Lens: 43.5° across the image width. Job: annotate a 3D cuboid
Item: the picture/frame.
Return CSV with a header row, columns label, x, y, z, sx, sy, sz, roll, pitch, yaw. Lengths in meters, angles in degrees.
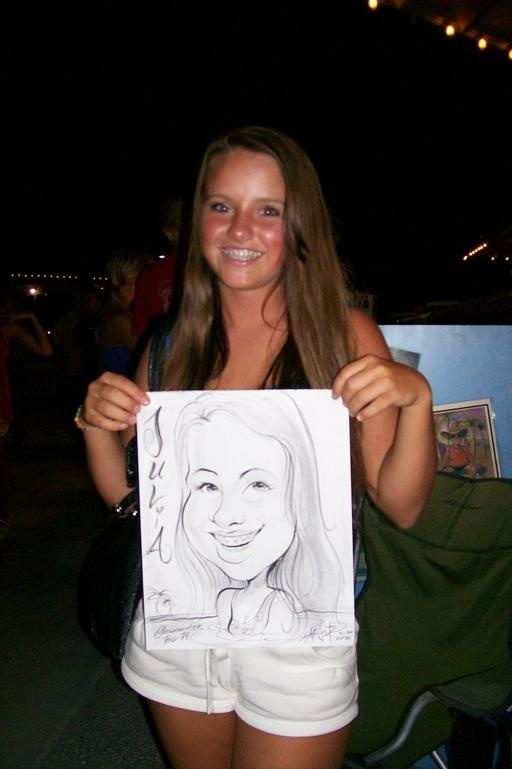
label,x,y,z,sx,sy,sz,roll,pitch,yaw
picture/frame,0.582,0.152,1.742,0.208,0.236,0.017,-7,6,14
